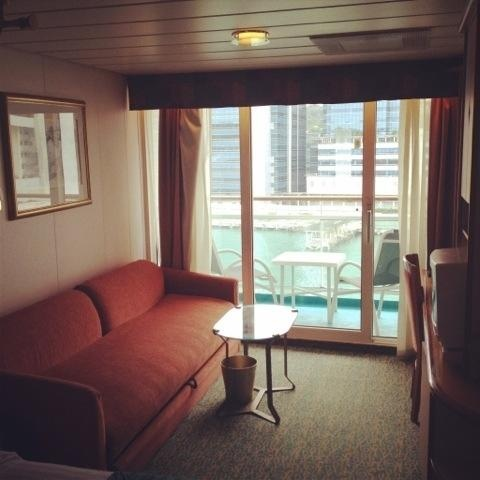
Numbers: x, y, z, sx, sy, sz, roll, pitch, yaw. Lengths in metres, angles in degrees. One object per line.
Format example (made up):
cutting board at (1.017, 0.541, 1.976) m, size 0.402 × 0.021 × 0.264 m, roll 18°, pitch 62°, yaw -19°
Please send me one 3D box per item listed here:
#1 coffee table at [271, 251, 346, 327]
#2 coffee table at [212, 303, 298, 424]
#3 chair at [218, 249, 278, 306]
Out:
coffee table at (0.662, 0.268, 4.130) m, size 0.670 × 0.880 × 0.535 m, roll 3°, pitch 7°, yaw 22°
coffee table at (0.134, 0.841, 2.897) m, size 0.338 × 0.514 × 0.653 m, roll -7°, pitch -4°, yaw 33°
chair at (0.107, 0.325, 4.272) m, size 0.462 × 0.971 × 0.450 m, roll -1°, pitch 3°, yaw 13°
